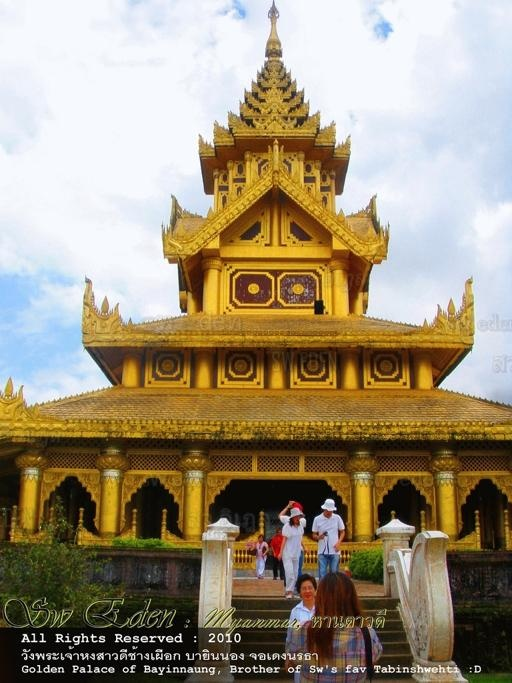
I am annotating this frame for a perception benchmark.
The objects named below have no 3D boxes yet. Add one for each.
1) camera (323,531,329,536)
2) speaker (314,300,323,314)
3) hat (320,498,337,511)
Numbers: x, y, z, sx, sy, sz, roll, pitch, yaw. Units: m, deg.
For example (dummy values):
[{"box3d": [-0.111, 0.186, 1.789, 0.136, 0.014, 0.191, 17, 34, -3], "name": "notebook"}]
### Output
[{"box3d": [0.923, 2.557, 11.081, 0.071, 0.064, 0.040, 0, -19, 4], "name": "camera"}, {"box3d": [1.902, -1.030, 24.897, 0.306, 0.561, 0.224, 2, -19, -2], "name": "speaker"}, {"box3d": [0.998, 2.237, 11.352, 0.156, 0.195, 0.552, -2, -19, 8], "name": "hat"}]
